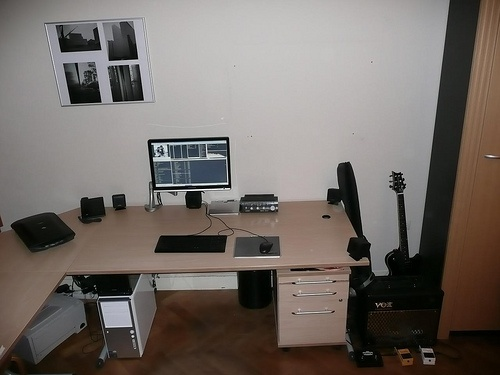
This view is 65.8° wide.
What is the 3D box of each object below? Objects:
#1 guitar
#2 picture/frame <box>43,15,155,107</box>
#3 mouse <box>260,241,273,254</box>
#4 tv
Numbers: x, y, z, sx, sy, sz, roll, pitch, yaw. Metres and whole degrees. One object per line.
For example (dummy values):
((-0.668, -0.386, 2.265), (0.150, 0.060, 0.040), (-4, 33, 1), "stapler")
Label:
((1.368, 0.352, 3.412), (0.307, 0.994, 0.542), (3, 16, 21), "guitar")
((-1.314, -1.151, 3.400), (0.705, 0.636, 0.047), (-1, 25, 0), "picture/frame")
((0.123, 0.457, 2.952), (0.099, 0.047, 0.150), (0, 16, 12), "mouse")
((-0.535, -0.155, 3.463), (0.601, 0.549, 0.146), (0, 17, -1), "tv")
